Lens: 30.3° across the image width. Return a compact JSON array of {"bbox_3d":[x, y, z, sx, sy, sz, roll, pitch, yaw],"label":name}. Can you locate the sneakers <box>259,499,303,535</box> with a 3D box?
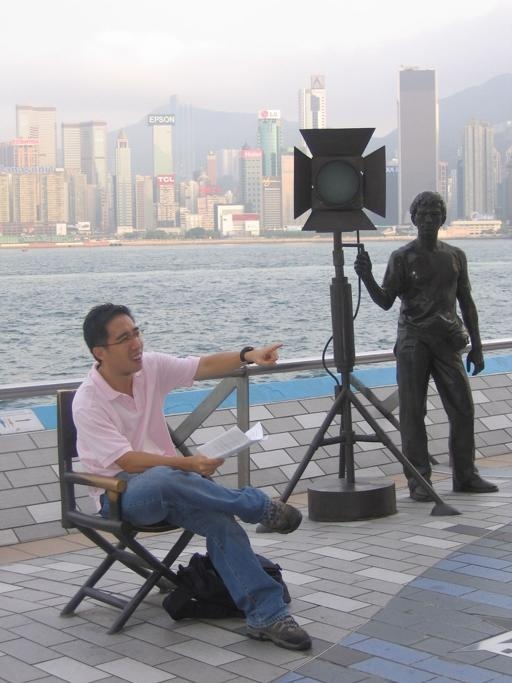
[{"bbox_3d":[0.051,0.602,3.247,0.154,0.100,0.311,-1,-11,-21],"label":"sneakers"}]

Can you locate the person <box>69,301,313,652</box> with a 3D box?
[{"bbox_3d":[-0.207,0.405,3.247,0.655,1.044,0.960,-5,8,-30],"label":"person"}]

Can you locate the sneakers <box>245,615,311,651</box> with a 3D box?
[{"bbox_3d":[0.090,0.916,3.003,0.224,0.088,0.076,0,0,27],"label":"sneakers"}]

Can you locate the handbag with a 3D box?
[{"bbox_3d":[-0.141,0.809,3.319,0.320,0.105,0.295,-1,5,-27],"label":"handbag"}]

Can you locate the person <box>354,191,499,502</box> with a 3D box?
[{"bbox_3d":[0.905,0.007,5.095,0.745,1.606,0.578,-1,7,0],"label":"person"}]
